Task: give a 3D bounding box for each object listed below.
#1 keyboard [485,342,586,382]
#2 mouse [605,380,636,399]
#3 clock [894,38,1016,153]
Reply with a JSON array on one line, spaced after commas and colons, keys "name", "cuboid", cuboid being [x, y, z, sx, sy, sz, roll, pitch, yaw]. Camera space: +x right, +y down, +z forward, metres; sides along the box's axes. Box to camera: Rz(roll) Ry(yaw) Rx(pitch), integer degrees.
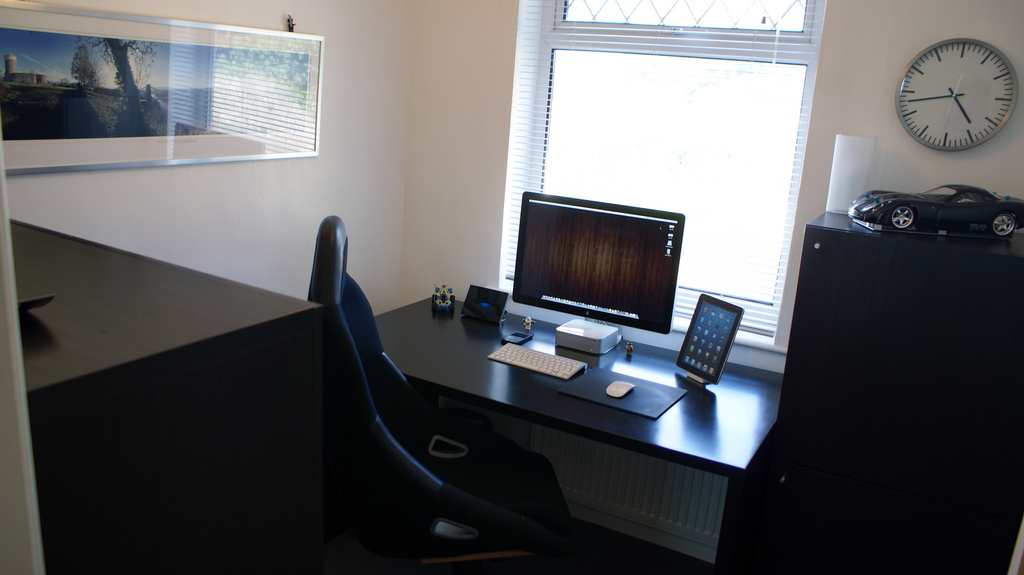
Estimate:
[{"name": "keyboard", "cuboid": [0.129, 0.334, 2.891, 0.421, 0.032, 0.179, 9, 17, -4]}, {"name": "mouse", "cuboid": [0.449, 0.410, 2.714, 0.082, 0.032, 0.145, 16, 22, 34]}, {"name": "clock", "cuboid": [1.811, -0.773, 2.659, 0.470, 0.493, 0.054, 3, 11, 22]}]
